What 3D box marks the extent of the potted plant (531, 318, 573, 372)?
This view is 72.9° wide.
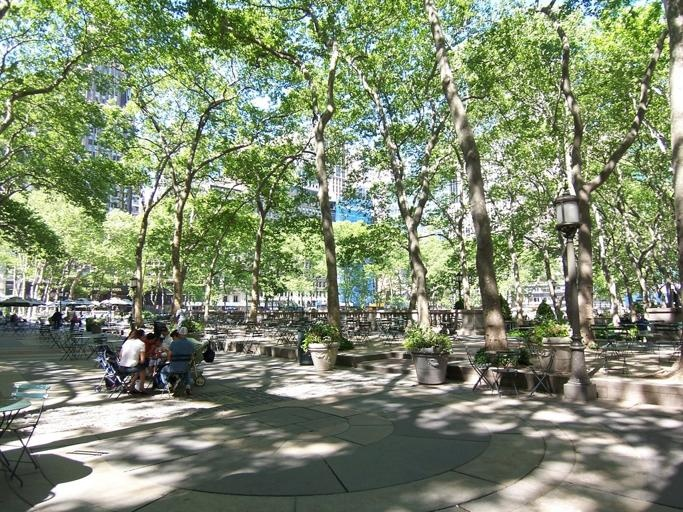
[{"bbox_3d":[6.641,2.872,14.403,1.088,1.457,1.279,2,-6,45],"label":"potted plant"}]

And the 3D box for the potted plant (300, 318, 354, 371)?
[{"bbox_3d":[-0.636,3.459,17.675,1.716,1.732,1.667,-1,-12,-3],"label":"potted plant"}]

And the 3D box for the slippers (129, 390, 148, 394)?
[{"bbox_3d":[-5.702,3.827,12.925,0.500,0.130,0.172,3,-20,-8],"label":"slippers"}]

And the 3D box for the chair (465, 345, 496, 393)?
[{"bbox_3d":[4.058,3.296,13.511,0.661,1.083,1.898,-3,-8,15],"label":"chair"}]

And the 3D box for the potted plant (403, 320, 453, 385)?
[{"bbox_3d":[2.651,3.118,14.492,1.785,1.787,1.472,2,-18,-6],"label":"potted plant"}]
